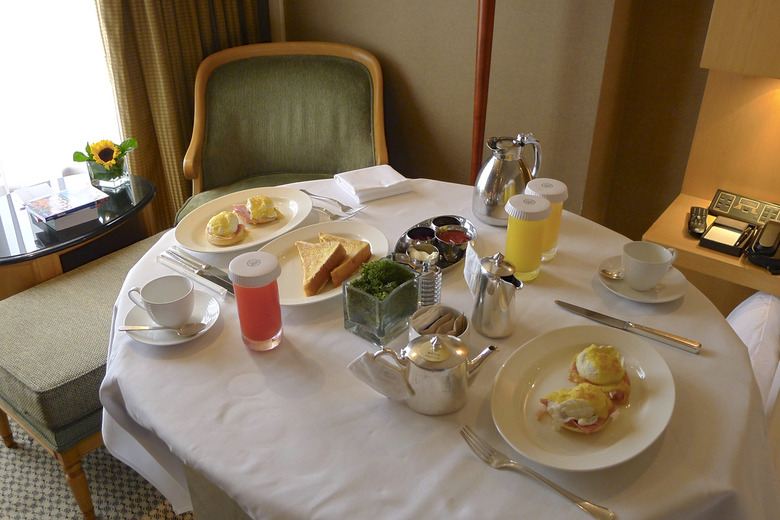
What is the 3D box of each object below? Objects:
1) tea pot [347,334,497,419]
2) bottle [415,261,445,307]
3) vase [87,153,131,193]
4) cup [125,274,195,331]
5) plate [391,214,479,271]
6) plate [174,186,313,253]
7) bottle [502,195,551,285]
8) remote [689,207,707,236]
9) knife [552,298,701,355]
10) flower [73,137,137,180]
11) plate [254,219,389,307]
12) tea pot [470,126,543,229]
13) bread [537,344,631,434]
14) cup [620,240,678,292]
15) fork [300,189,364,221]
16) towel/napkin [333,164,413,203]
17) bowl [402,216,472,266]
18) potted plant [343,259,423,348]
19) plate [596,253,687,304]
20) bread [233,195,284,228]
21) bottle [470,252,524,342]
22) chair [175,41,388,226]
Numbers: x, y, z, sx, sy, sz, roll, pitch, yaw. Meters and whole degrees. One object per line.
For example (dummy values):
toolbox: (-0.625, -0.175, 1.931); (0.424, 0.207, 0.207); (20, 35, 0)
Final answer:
tea pot: (0.080, 0.262, 1.305); (0.269, 0.179, 0.163); (-3, 22, -10)
bottle: (0.103, 0.069, 1.476); (0.079, 0.135, 0.078); (-2, 28, 1)
vase: (-1.371, -0.441, 2.609); (0.181, 0.155, 0.201); (10, 17, 11)
cup: (-0.619, 0.123, 1.465); (0.169, 0.106, 0.134); (2, 29, -6)
plate: (0.157, -0.074, 1.678); (0.203, 0.052, 0.175); (17, 51, 32)
plate: (-0.513, -0.145, 1.864); (0.334, 0.051, 0.290); (-22, 40, -31)
bottle: (0.396, -0.057, 1.601); (0.131, 0.215, 0.132); (-2, 19, 1)
remote: (1.292, -0.176, 2.287); (0.074, 0.035, 0.149); (6, 54, 24)
knife: (0.630, 0.182, 1.435); (0.299, 0.016, 0.044); (21, 61, 19)
flower: (-1.375, -0.461, 2.627); (0.214, 0.134, 0.219); (26, 54, 33)
plate: (-0.218, -0.044, 1.698); (0.319, 0.051, 0.266); (-28, 40, -21)
tea pot: (0.401, -0.277, 1.811); (0.234, 0.296, 0.179); (12, 30, 25)
bread: (0.461, 0.306, 1.256); (0.152, 0.070, 0.222); (22, 57, 34)
cup: (0.722, 0.016, 1.571); (0.119, 0.109, 0.148); (-21, 39, -20)
fork: (-0.200, -0.185, 1.907); (0.091, 0.035, 0.275); (-28, 41, -31)
towel/napkin: (-0.072, -0.283, 2.037); (0.218, 0.072, 0.214); (-16, 34, -27)
bowl: (0.160, -0.077, 1.679); (0.155, 0.046, 0.185); (-38, 43, -23)
potted plant: (-0.020, 0.106, 1.466); (0.181, 0.177, 0.145); (-26, 40, -37)
plate: (0.705, 0.021, 1.592); (0.190, 0.043, 0.201); (-11, 39, 30)
bread: (-0.466, -0.182, 1.860); (0.125, 0.048, 0.110); (27, 44, 32)
bottle: (0.279, 0.089, 1.452); (0.118, 0.217, 0.181); (-11, 26, -21)
chair: (-0.525, -0.772, 3.062); (0.947, 1.408, 1.005); (-2, 44, -3)
